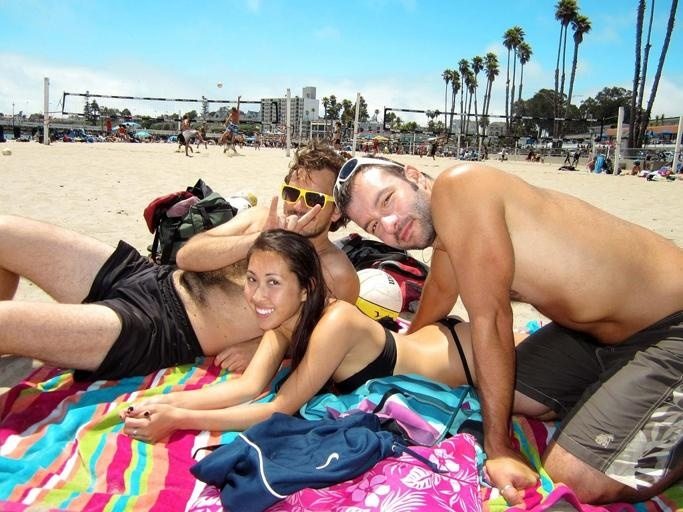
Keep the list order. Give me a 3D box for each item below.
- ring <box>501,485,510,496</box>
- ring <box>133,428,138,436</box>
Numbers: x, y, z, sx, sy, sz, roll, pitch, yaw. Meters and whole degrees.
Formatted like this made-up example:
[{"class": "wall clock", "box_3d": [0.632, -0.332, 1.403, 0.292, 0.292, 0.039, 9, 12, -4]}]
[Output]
[{"class": "ring", "box_3d": [0.759, 1.073, 2.138, 0.034, 0.045, 0.033, 5, 14, -1]}, {"class": "ring", "box_3d": [-1.062, 0.906, 2.400, 0.031, 0.044, 0.013, 6, 6, 18]}]
